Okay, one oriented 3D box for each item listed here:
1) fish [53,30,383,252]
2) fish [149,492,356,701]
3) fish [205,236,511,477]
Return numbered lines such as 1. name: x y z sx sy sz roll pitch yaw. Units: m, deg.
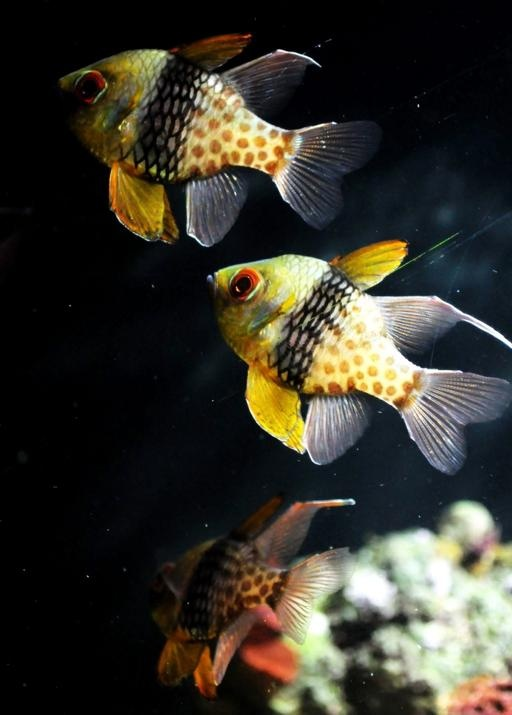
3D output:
1. fish: -0.044 -0.311 1.032 0.315 0.040 0.199 16 95 -10
2. fish: -0.021 0.336 1.032 0.355 0.163 0.248 -3 81 26
3. fish: 0.163 0.004 1.011 0.384 0.194 0.310 -14 67 2
